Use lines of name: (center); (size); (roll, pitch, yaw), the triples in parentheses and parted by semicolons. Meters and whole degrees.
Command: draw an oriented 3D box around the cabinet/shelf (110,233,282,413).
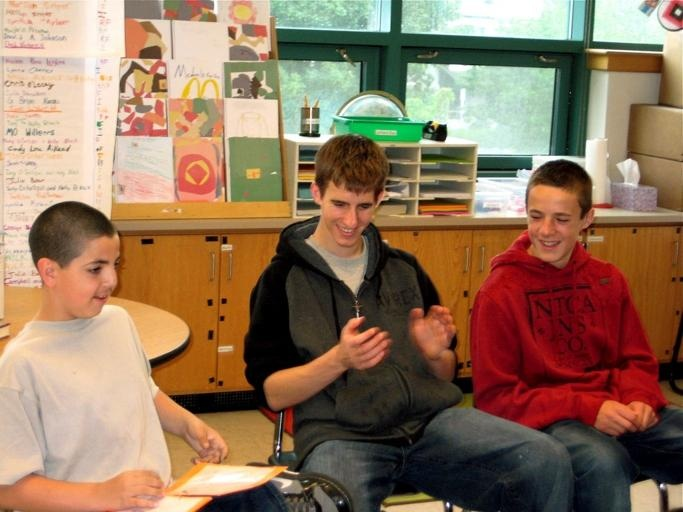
cabinet/shelf: (-0.769, 0.328, 3.370); (0.987, 0.883, 0.333); (4, -5, -44)

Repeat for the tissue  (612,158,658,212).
tissue : (1.816, -0.426, 3.912); (0.266, 0.360, 0.205); (-2, 20, -15)

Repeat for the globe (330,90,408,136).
globe: (0.139, -0.897, 3.706); (0.550, 0.272, 0.310); (-3, 21, -18)

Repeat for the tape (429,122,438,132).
tape: (0.543, -0.733, 3.534); (0.053, 0.051, 0.037); (2, -3, -27)
